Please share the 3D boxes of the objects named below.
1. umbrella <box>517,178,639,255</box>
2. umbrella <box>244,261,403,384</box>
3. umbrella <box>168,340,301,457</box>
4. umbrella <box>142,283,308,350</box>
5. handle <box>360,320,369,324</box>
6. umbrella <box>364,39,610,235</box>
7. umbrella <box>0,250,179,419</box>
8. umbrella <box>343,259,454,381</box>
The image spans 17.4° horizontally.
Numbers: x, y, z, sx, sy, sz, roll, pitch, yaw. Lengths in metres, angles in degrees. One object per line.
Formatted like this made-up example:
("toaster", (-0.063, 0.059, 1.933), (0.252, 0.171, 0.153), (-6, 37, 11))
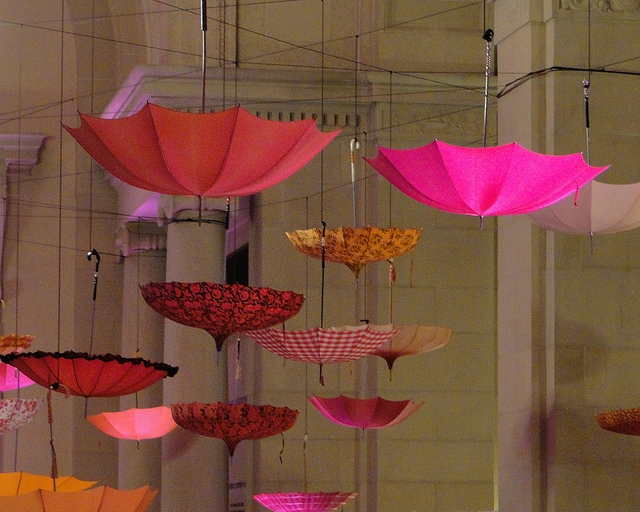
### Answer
("umbrella", (2.546, -0.471, 19.991), (0.738, 0.357, 0.746), (-5, -20, 14))
("umbrella", (-0.008, 0.585, 19.717), (1.048, 0.889, 1.090), (10, 18, 34))
("umbrella", (-0.894, 1.309, 20.587), (1.169, 1.323, 1.230), (6, -10, -40))
("umbrella", (-0.812, 0.529, 19.640), (1.297, 0.476, 1.255), (0, -17, 6))
("handle", (0.445, 0.630, 21.557), (0.060, 0.027, 0.042), (1, -18, -1))
("umbrella", (1.473, -1.067, 19.784), (1.665, 1.608, 1.654), (5, -13, -6))
("umbrella", (-2.559, 0.831, 22.798), (1.664, 1.667, 1.636), (5, -12, -23))
("umbrella", (0.720, 0.590, 21.163), (1.233, 1.238, 1.213), (-5, 12, -16))
